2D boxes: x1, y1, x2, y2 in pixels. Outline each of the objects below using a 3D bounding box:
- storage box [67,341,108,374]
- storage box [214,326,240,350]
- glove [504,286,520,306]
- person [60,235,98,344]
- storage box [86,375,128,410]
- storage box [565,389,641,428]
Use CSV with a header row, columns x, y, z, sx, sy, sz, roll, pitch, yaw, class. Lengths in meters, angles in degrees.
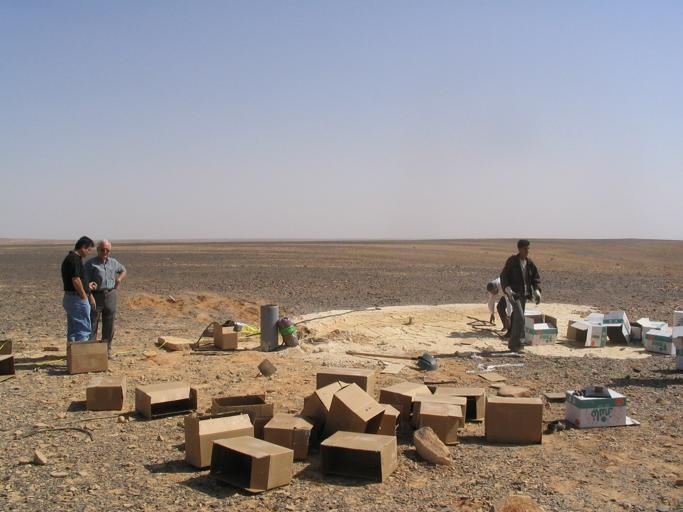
x,y,z,sx,sy,sz,roll,pitch,yaw,class
-4.713,1.876,11.743,0.732,0.504,0.358,3,2,-28,storage box
-2.583,1.835,14.397,0.588,0.604,0.736,-3,5,-23,storage box
3.785,0.868,14.391,0.313,0.117,0.406,31,14,-6,glove
-4.995,0.659,12.088,0.586,2.048,0.833,-3,11,-20,person
-3.799,2.219,10.251,0.582,0.432,0.624,-1,9,-16,storage box
3.953,2.302,9.675,0.932,0.430,0.580,0,0,-5,storage box
